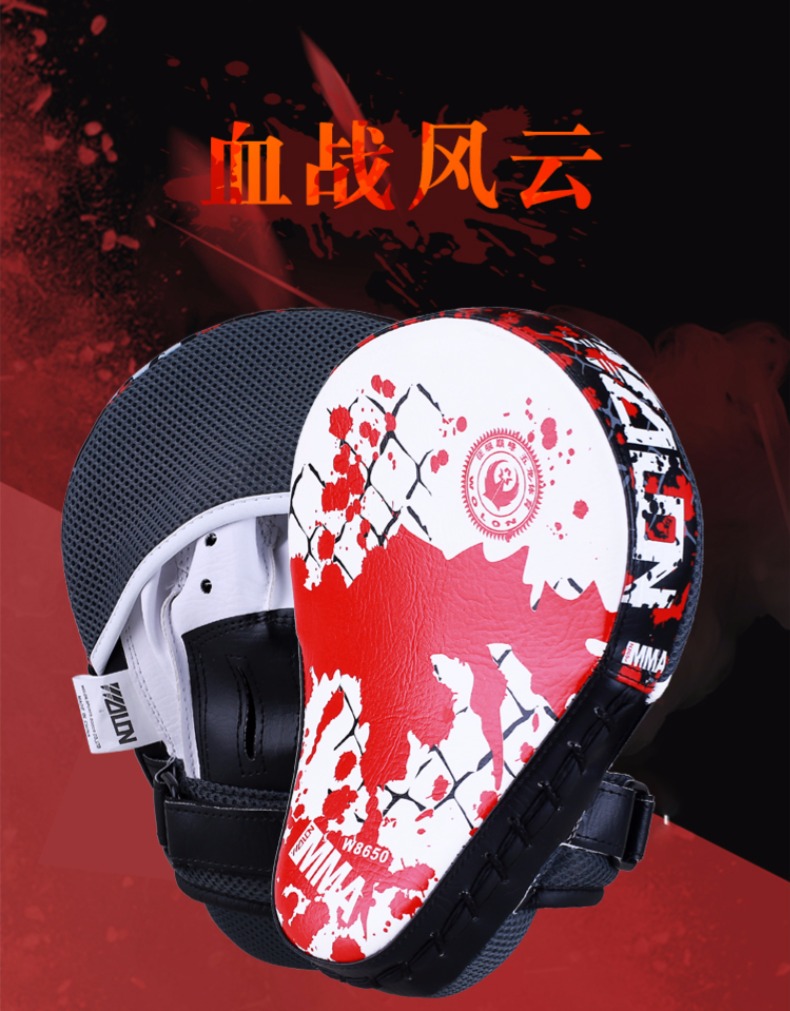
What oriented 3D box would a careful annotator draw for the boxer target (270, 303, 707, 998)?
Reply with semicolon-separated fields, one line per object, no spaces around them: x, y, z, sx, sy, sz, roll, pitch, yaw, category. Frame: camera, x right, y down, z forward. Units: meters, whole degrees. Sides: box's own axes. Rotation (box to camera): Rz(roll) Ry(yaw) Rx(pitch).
0.095;0.074;0.550;0.255;0.101;0.313;26;100;29;boxer target
